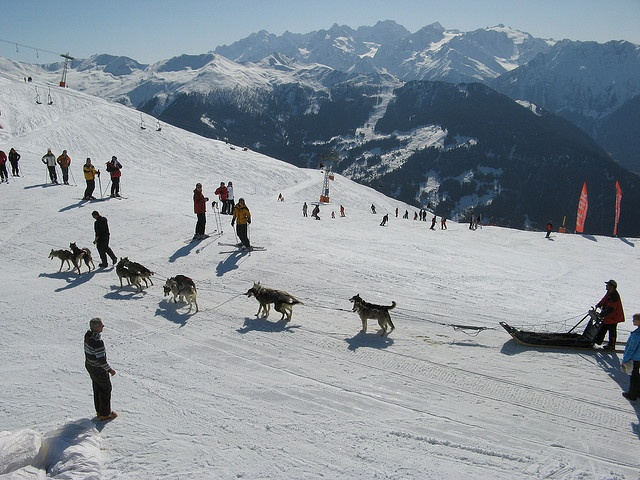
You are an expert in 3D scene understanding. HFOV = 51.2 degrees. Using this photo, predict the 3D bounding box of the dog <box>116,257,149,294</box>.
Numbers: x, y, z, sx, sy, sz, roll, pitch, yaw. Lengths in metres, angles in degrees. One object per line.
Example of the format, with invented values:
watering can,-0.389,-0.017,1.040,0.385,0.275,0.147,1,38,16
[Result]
dog,-7.789,1.525,27.719,1.981,0.992,0.487,14,21,16

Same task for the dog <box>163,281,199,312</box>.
dog,-5.563,2.069,26.770,1.640,0.914,0.536,6,5,26

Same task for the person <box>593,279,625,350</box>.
person,11.077,2.824,25.526,0.991,2.570,1.216,14,11,24

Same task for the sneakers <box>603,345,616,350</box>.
sneakers,11.004,4.085,25.420,0.469,0.185,0.170,5,-6,22

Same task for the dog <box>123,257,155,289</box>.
dog,-7.692,1.453,28.210,1.330,0.690,0.305,33,33,-1

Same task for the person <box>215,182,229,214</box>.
person,-5.989,-2.401,40.593,0.956,1.228,2.850,12,-20,-5

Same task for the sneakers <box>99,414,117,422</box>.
sneakers,-6.889,5.636,21.662,0.516,0.232,0.201,-8,14,-25

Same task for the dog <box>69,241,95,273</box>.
dog,-10.350,0.771,29.212,0.917,1.215,1.024,9,10,2

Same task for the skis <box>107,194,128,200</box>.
skis,-11.559,-2.364,38.617,1.230,0.214,0.103,7,-17,-33

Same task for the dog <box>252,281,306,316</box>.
dog,-1.764,2.448,26.625,2.511,1.361,0.661,6,1,20

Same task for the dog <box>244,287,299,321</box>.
dog,-1.916,2.490,26.660,2.446,1.251,0.630,9,-2,23
